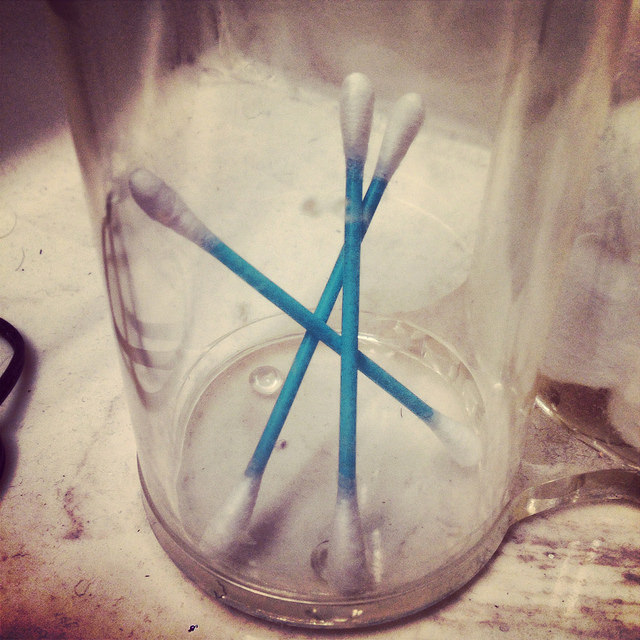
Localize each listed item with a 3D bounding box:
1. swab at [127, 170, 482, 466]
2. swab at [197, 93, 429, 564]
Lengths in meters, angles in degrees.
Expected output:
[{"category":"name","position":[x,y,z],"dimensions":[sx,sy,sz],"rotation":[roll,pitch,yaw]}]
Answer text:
[{"category":"swab","position":[-0.008,0.000,0.535],"dimensions":[0.237,0.021,0.022],"rotation":[42,85,-16]},{"category":"swab","position":[-0.004,0.005,0.526],"dimensions":[0.022,0.021,0.259],"rotation":[19,78,-4]}]
